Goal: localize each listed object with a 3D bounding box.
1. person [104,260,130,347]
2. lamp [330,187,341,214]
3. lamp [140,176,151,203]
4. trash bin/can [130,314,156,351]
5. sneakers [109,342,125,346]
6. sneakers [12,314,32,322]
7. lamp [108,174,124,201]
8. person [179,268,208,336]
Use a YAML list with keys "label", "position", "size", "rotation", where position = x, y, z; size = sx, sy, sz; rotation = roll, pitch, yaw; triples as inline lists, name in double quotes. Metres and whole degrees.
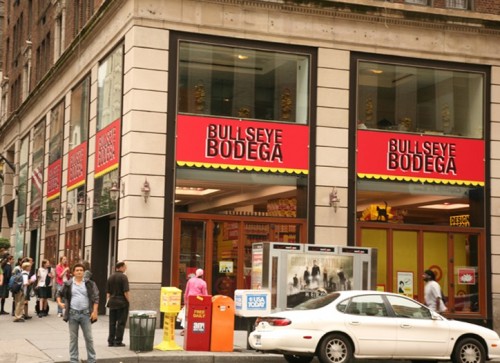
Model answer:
- label: "person"
  position: [-4.160, 3.847, 27.640]
  size: [0.670, 2.645, 0.574]
  rotation: [1, -10, -11]
- label: "lamp"
  position: [3.217, 0.710, 32.984]
  size: [0.429, 0.896, 0.227]
  rotation: [-1, -10, 1]
- label: "lamp"
  position: [-3.705, 0.347, 31.311]
  size: [0.348, 0.871, 0.201]
  rotation: [1, -10, -7]
- label: "trash bin/can"
  position: [-3.254, 4.539, 26.581]
  size: [0.768, 1.240, 0.470]
  rotation: [1, -10, -8]
- label: "sneakers"
  position: [-4.153, 5.071, 27.371]
  size: [0.545, 0.140, 0.234]
  rotation: [1, -11, -10]
- label: "sneakers"
  position: [-8.241, 4.958, 31.756]
  size: [0.662, 0.275, 0.221]
  rotation: [-1, -2, -22]
- label: "lamp"
  position: [-4.885, 0.247, 32.095]
  size: [0.419, 0.933, 1.247]
  rotation: [3, -11, -18]
- label: "person"
  position: [-1.791, 3.913, 29.062]
  size: [0.741, 2.047, 0.608]
  rotation: [6, 13, -4]
